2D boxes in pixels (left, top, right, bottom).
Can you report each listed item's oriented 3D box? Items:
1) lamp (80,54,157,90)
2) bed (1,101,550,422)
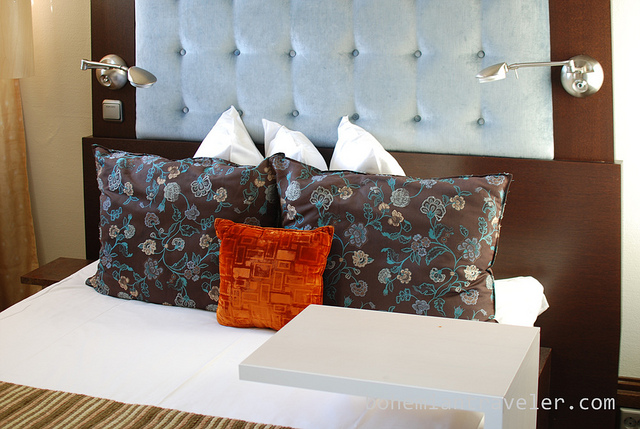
[{"bbox_3d":[-1.008,-0.738,2.650,0.439,0.248,0.150,6,17,14],"label":"lamp"},{"bbox_3d":[-0.284,0.197,2.036,1.986,0.947,0.931,7,2,4],"label":"bed"}]
